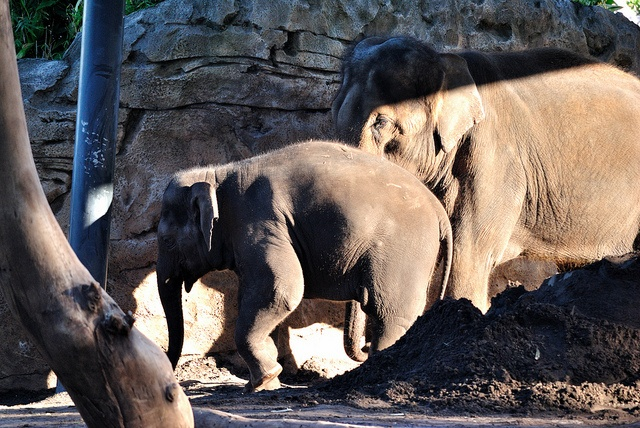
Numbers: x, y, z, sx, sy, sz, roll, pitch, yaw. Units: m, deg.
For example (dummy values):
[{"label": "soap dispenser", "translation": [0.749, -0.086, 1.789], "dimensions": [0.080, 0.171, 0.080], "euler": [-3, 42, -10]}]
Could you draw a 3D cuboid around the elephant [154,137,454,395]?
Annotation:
[{"label": "elephant", "translation": [-0.153, 0.428, 8.459], "dimensions": [2.112, 1.840, 0.740], "euler": [6, 10, 6]}]
